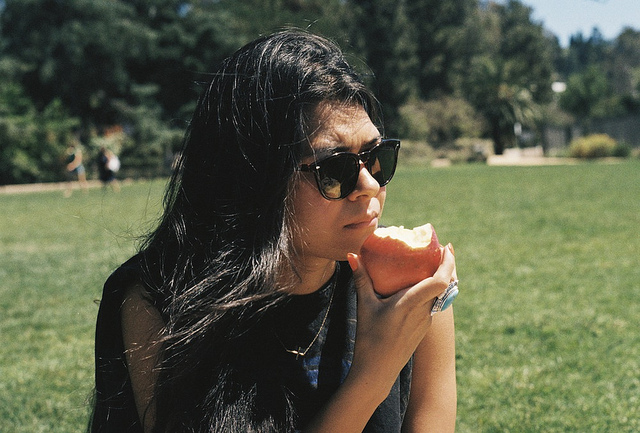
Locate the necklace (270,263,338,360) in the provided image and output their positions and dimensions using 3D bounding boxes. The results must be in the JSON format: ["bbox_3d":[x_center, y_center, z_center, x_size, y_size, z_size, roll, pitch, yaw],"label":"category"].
[{"bbox_3d":[-0.167,0.826,6.819,0.551,0.653,0.177,4,14,3],"label":"necklace"}]
